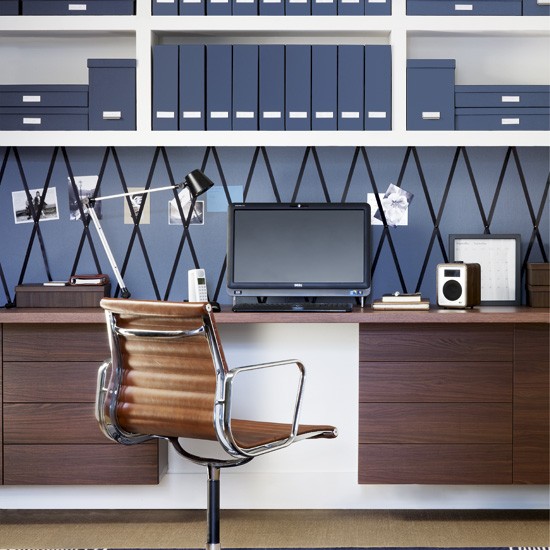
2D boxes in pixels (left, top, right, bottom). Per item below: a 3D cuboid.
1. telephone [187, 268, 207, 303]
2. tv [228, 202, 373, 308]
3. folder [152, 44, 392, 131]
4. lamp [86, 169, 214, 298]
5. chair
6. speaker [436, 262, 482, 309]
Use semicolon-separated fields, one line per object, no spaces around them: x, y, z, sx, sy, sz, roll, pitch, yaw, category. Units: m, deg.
-0.319;0.044;3.545;0.078;0.140;0.157;-2;13;-7;telephone
0.107;-0.091;3.553;0.600;0.575;0.384;-1;-7;0;tv
-0.012;-0.773;3.543;0.989;0.341;0.092;0;11;2;folder
-0.532;-0.178;3.665;0.552;0.554;0.382;-4;12;-15;lamp
-0.236;0.476;2.835;0.697;0.867;0.382;-3;12;-13;chair
0.729;0.077;3.537;0.120;0.200;0.154;0;-30;14;speaker
